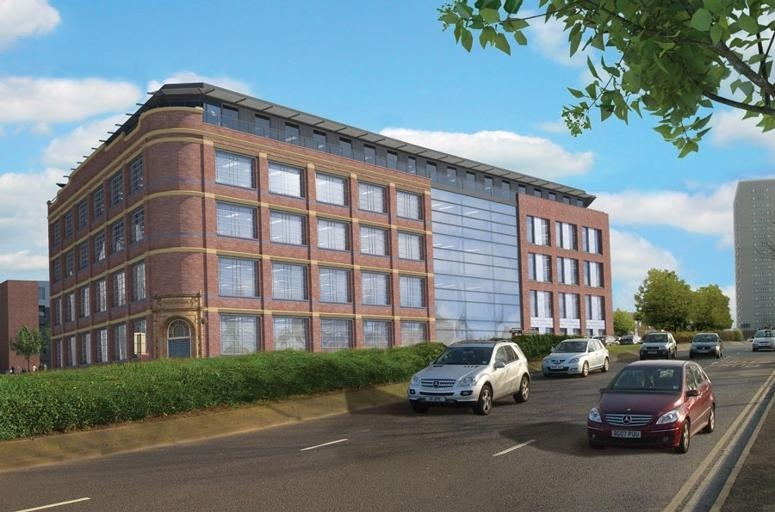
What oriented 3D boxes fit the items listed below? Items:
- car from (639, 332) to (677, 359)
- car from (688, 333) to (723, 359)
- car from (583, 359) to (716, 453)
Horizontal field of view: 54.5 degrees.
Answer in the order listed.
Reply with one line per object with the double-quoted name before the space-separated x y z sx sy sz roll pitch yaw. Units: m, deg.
"car" 16.660 5.667 46.517 2.012 1.549 3.264 -3 -1 17
"car" 20.148 5.624 47.556 1.323 0.930 2.628 -5 -12 26
"car" 6.440 3.639 18.376 1.927 2.030 3.266 -3 -1 39
